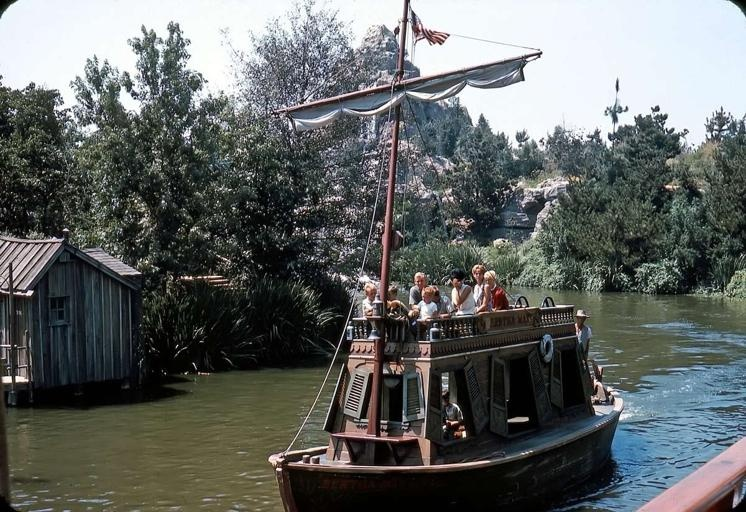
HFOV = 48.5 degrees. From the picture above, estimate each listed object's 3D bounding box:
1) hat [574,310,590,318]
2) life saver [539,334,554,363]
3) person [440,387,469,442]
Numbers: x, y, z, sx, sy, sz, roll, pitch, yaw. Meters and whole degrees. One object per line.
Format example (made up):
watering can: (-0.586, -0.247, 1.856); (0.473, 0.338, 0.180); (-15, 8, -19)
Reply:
hat: (9.053, 2.467, 35.825); (0.735, 0.323, 0.847); (6, -1, 18)
life saver: (4.926, 2.582, 23.468); (0.157, 0.695, 0.619); (-2, -21, 40)
person: (2.020, 4.214, 21.655); (0.695, 1.429, 0.602); (0, 9, 21)
